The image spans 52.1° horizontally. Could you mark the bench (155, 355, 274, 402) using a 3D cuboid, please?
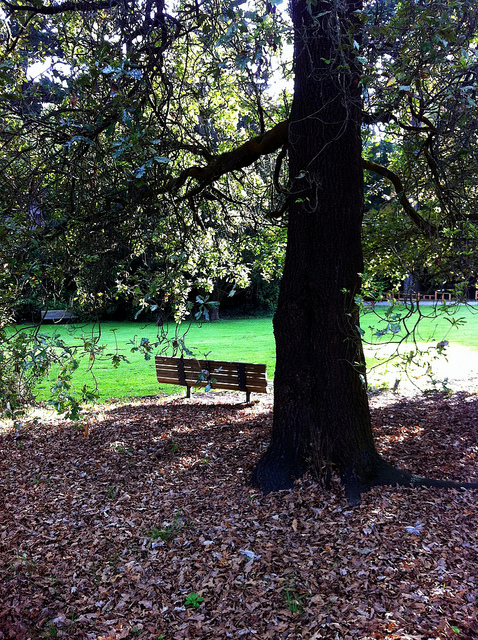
[{"bbox_3d":[-0.440,1.070,8.641,2.371,0.696,0.613,1,-7,33],"label":"bench"}]
